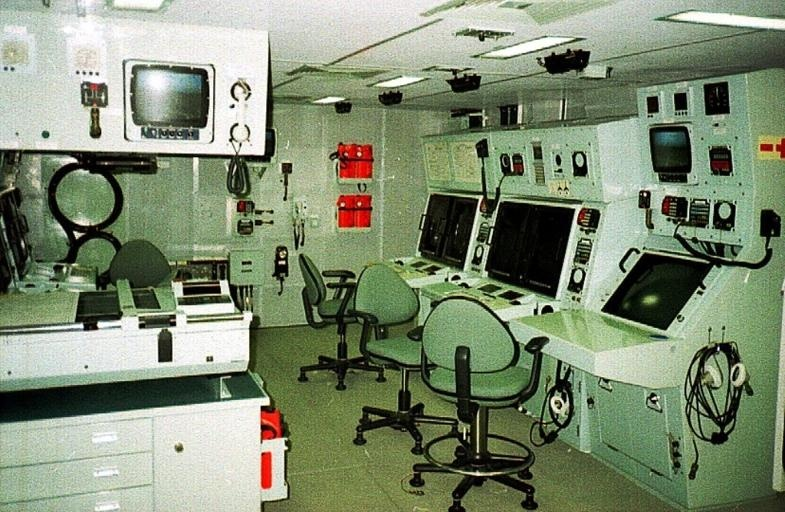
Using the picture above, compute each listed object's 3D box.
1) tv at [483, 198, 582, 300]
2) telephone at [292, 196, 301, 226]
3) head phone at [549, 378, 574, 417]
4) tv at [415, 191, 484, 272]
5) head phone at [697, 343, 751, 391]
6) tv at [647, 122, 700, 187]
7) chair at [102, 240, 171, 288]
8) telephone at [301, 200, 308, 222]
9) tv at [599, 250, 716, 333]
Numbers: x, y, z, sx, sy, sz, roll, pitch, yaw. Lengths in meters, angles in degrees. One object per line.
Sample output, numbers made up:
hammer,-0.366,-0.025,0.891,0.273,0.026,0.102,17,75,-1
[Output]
tv,1.379,-0.037,6.127,0.136,0.782,0.967,18,2,-30
telephone,-1.314,-0.610,8.638,0.133,0.357,0.048,-3,11,-4
head phone,1.477,1.256,5.573,0.091,0.276,0.298,1,-11,-31
tv,0.691,-0.259,7.488,0.361,0.734,0.903,8,9,-29
head phone,2.518,0.844,4.848,0.366,0.374,0.196,0,-3,0
tv,2.259,-0.827,5.173,0.046,0.457,0.389,-8,12,-26
chair,-2.783,0.100,6.997,0.379,0.523,0.541,7,14,43
telephone,-1.222,-0.601,8.663,0.158,0.298,0.044,-12,14,-43
tv,2.130,0.278,5.160,0.426,0.494,0.697,-8,11,-28
